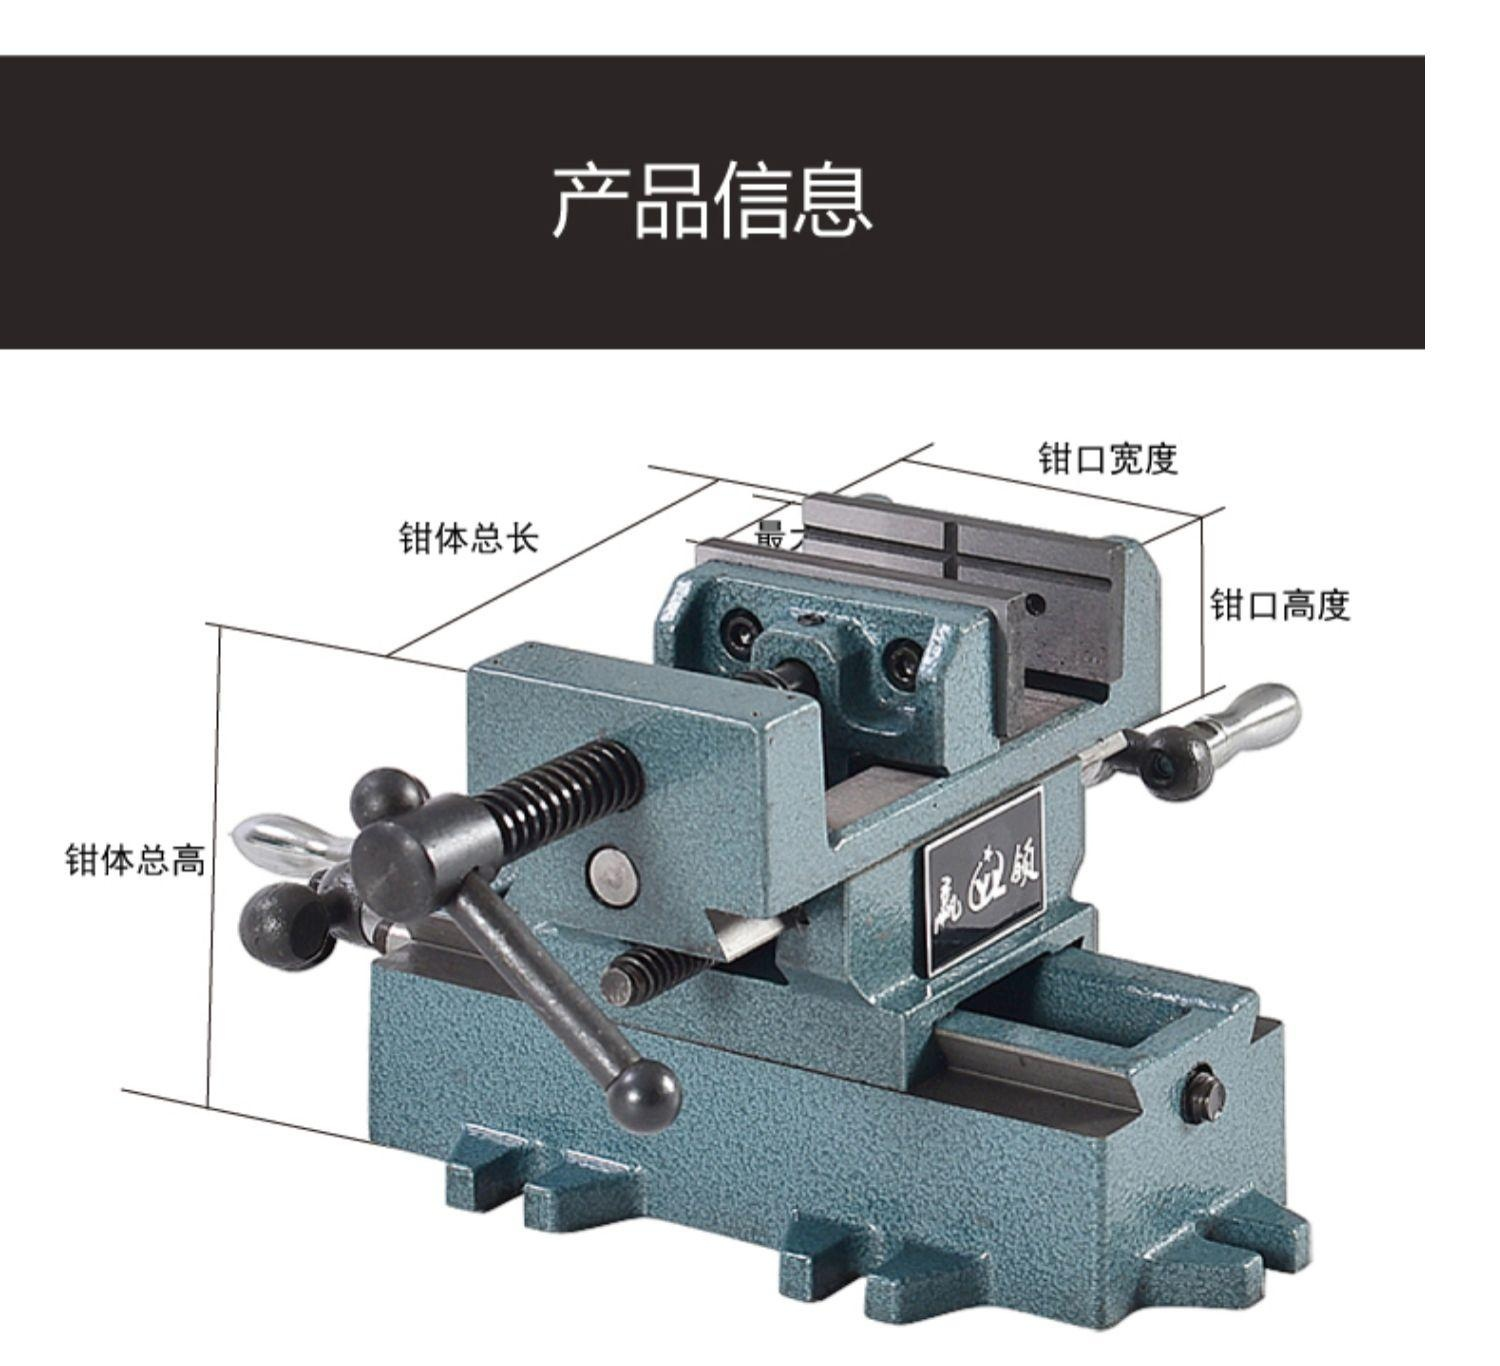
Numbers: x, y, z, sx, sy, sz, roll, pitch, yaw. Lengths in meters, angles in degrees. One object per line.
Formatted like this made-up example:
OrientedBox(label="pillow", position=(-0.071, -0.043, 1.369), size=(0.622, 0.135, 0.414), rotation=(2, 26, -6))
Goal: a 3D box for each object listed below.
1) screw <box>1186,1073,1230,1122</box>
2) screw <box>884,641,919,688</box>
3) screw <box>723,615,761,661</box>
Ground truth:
OrientedBox(label="screw", position=(0.642, 0.586, 3.104), size=(0.016, 0.070, 0.068), rotation=(-3, 21, 42))
OrientedBox(label="screw", position=(0.222, -0.024, 3.176), size=(0.060, 0.063, 0.068), rotation=(2, 14, 16))
OrientedBox(label="screw", position=(-0.011, -0.069, 3.308), size=(0.061, 0.067, 0.023), rotation=(3, 10, 35))
